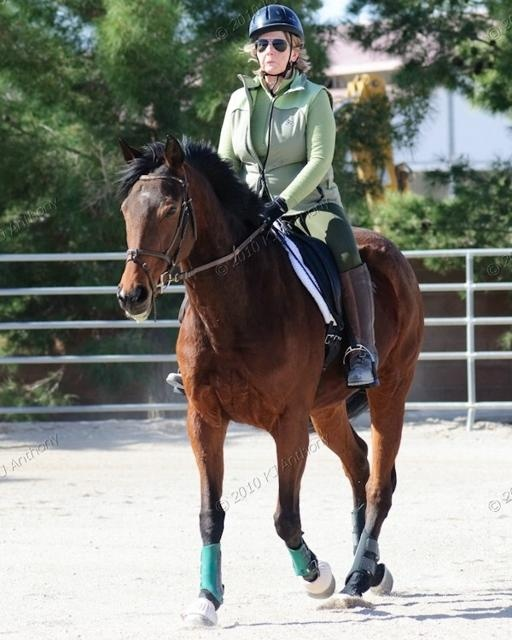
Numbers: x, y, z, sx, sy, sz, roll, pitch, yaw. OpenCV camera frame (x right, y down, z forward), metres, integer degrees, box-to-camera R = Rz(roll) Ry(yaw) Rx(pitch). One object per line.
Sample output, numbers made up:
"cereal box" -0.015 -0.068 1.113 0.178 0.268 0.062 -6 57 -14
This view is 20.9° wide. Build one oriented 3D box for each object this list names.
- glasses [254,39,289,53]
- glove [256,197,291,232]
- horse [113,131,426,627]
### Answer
"glasses" 0.067 -1.596 8.074 0.208 0.083 0.083 5 11 21
"glove" 0.090 -0.604 7.826 0.072 0.182 0.136 33 -6 -31
"horse" 0.115 0.302 7.850 2.099 2.656 0.847 -7 13 -39
